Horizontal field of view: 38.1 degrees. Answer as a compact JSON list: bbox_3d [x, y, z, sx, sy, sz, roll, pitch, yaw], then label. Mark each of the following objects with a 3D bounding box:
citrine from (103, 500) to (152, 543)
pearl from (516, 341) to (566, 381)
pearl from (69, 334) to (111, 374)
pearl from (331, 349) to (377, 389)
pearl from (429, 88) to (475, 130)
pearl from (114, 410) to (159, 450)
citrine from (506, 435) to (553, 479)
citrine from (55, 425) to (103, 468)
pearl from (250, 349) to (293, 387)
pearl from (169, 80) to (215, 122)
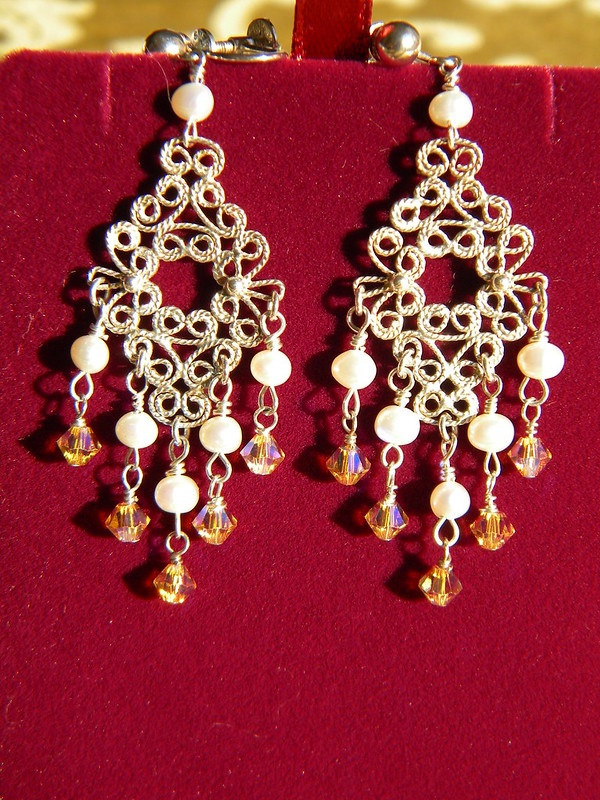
[{"bbox_3d":[-0.207,0.144,1.041,0.054,0.041,0.053,-2,-6,30],"label":"citrine"},{"bbox_3d":[0.286,-0.048,1.034,0.046,0.050,0.042,-2,16,-19],"label":"pearl"},{"bbox_3d":[-0.249,-0.054,1.035,0.049,0.052,0.047,6,3,-13],"label":"pearl"},{"bbox_3d":[0.063,-0.037,1.033,0.051,0.048,0.023,1,-2,1],"label":"pearl"},{"bbox_3d":[0.178,-0.344,1.028,0.049,0.048,0.031,7,7,6],"label":"pearl"},{"bbox_3d":[-0.197,0.036,1.045,0.048,0.045,0.027,1,-2,-11],"label":"pearl"},{"bbox_3d":[0.274,0.068,1.045,0.054,0.046,0.050,-1,1,5],"label":"citrine"},{"bbox_3d":[-0.264,0.055,1.039,0.053,0.042,0.050,1,1,4],"label":"citrine"},{"bbox_3d":[-0.035,-0.039,1.026,0.043,0.042,0.025,6,9,-4],"label":"pearl"},{"bbox_3d":[-0.127,-0.351,1.029,0.053,0.046,0.027,3,10,-9],"label":"pearl"}]
